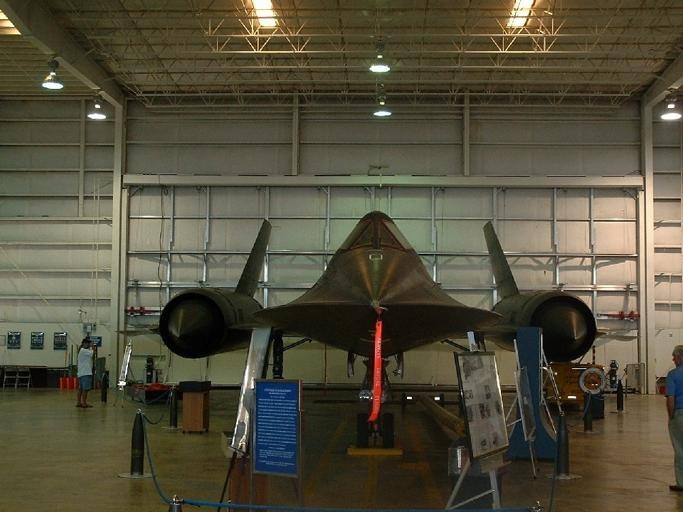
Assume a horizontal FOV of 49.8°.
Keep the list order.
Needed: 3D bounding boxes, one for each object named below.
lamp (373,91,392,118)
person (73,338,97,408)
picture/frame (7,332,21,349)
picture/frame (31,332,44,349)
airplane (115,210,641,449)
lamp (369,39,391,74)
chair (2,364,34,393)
[{"bbox_3d":[1.302,-4.934,23.865,0.753,0.815,0.737,0,-2,4],"label":"lamp"},{"bbox_3d":[-7.352,3.305,21.014,0.417,1.944,1.199,3,-9,-20],"label":"person"},{"bbox_3d":[-11.611,2.974,26.001,0.573,0.797,0.081,-1,-2,3],"label":"picture/frame"},{"bbox_3d":[-10.763,2.977,25.942,0.530,0.720,0.077,4,-12,-10],"label":"picture/frame"},{"bbox_3d":[0.674,1.377,15.038,8.615,4.809,5.688,1,-8,-11],"label":"airplane"},{"bbox_3d":[1.201,-5.671,20.465,0.680,0.747,0.703,-12,6,-2],"label":"lamp"},{"bbox_3d":[-11.482,4.245,25.890,0.790,1.482,1.018,0,0,3],"label":"chair"}]
